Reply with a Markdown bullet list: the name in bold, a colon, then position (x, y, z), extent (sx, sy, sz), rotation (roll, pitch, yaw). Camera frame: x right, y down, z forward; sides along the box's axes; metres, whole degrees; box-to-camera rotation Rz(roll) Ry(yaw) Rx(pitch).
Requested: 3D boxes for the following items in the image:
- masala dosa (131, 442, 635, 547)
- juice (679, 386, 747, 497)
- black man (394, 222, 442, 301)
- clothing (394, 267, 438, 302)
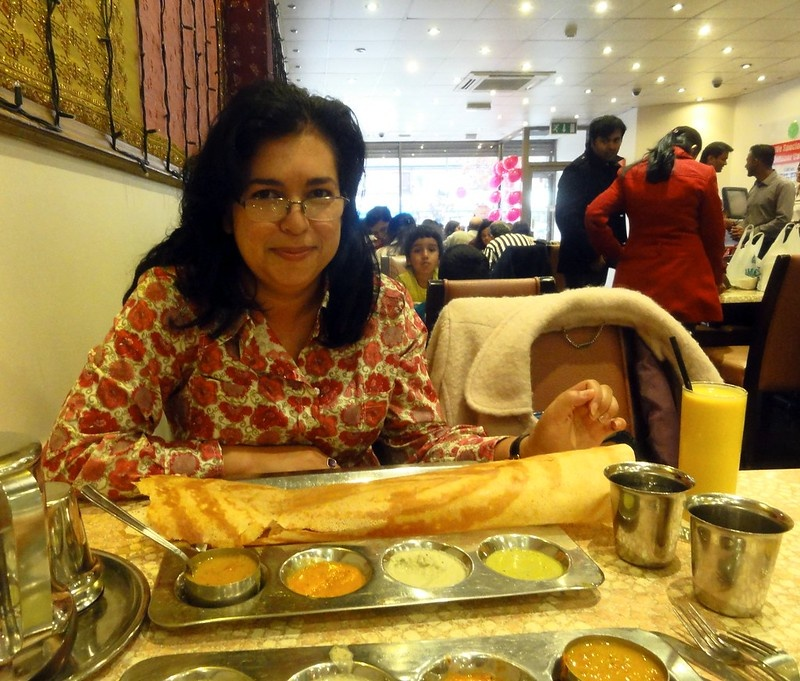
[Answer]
- **masala dosa**: position (-0.002, 0.275, 1.103), extent (0.881, 0.145, 0.218), rotation (1, 12, -20)
- **juice**: position (0.564, 0.198, 1.151), extent (0.129, 0.241, 0.136), rotation (0, 5, 39)
- **black man**: position (0.127, -0.563, 4.381), extent (0.287, 0.617, 0.303), rotation (3, 9, 11)
- **clothing**: position (0.096, -0.357, 4.330), extent (0.288, 0.299, 0.116), rotation (1, -7, -9)
